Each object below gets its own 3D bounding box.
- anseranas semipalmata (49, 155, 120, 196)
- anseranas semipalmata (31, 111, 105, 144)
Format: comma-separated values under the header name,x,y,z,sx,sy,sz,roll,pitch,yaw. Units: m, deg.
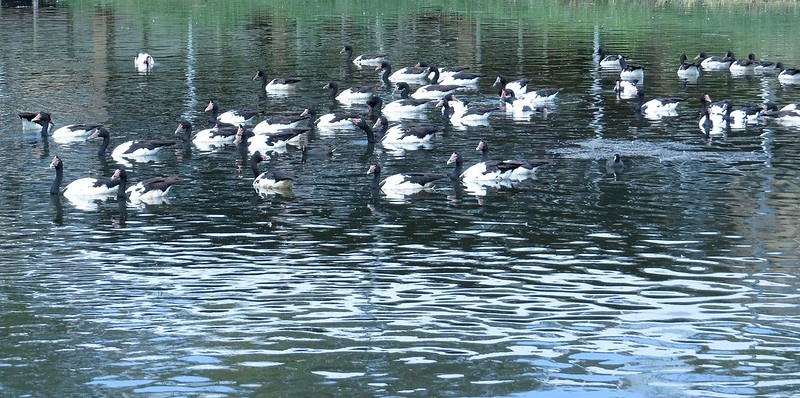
name,x,y,z,sx,sy,sz,roll,pitch,yaw
anseranas semipalmata,-21.100,-1.537,71.230,4.324,2.514,1.792,-3,9,-7
anseranas semipalmata,-26.045,-5.578,82.646,5.297,2.288,2.450,2,10,28
